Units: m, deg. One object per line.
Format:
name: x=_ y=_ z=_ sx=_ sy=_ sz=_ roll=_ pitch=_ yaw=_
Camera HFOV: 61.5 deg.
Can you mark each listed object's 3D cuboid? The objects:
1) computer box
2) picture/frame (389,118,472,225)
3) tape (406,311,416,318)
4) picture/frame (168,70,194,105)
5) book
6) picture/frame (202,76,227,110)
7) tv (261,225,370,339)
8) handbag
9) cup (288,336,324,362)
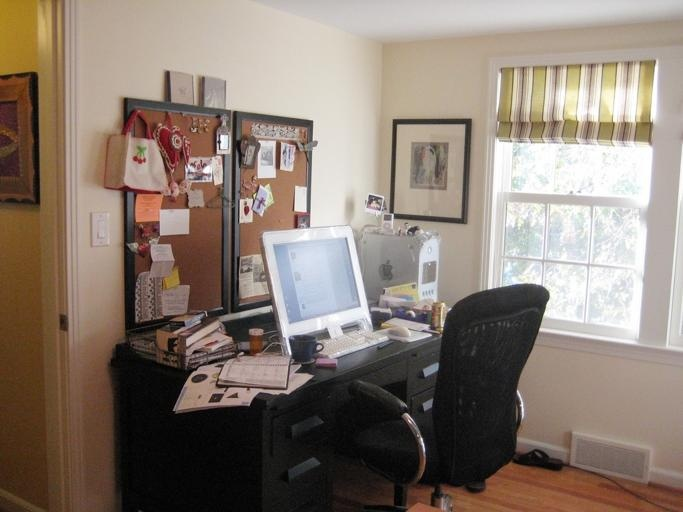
computer box: x=0.373 y=0.084 z=3.865 sx=0.495 sy=0.513 sz=0.319 roll=5 pitch=8 yaw=40
picture/frame: x=0.640 y=-0.604 z=3.996 sx=0.680 sy=0.859 sz=0.033 roll=6 pitch=8 yaw=33
tape: x=0.399 y=0.333 z=3.305 sx=0.045 sy=0.067 sz=0.035 roll=-3 pitch=-4 yaw=41
picture/frame: x=-0.813 y=-0.852 z=2.899 sx=0.034 sy=0.147 sz=0.141 roll=5 pitch=7 yaw=38
book: x=-0.554 y=0.453 z=2.595 sx=0.564 sy=0.253 sz=0.828 roll=-6 pitch=10 yaw=-37
picture/frame: x=-0.669 y=-0.872 z=3.042 sx=0.034 sy=0.150 sz=0.147 roll=7 pitch=9 yaw=40
tv: x=-0.147 y=0.146 z=2.959 sx=0.594 sy=0.615 sz=0.049 roll=0 pitch=-8 yaw=-37
handbag: x=-0.971 y=-0.496 z=2.724 sx=0.307 sy=0.398 sz=0.135 roll=-4 pitch=9 yaw=-28
cup: x=-0.170 y=0.427 z=2.661 sx=0.126 sy=0.093 sz=0.104 roll=5 pitch=-3 yaw=-5
